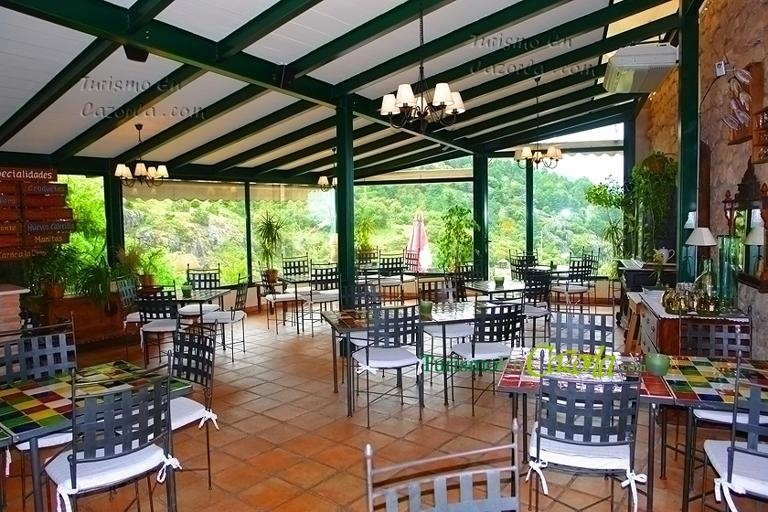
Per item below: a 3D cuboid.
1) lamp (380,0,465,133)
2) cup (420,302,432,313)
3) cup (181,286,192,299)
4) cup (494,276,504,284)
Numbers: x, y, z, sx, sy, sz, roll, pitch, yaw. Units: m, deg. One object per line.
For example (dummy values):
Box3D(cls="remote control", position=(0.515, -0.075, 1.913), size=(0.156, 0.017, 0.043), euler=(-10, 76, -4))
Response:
Box3D(cls="lamp", position=(0.395, -1.988, 5.556), size=(0.924, 1.188, 0.758), euler=(-3, 5, -2))
Box3D(cls="cup", position=(0.476, 0.585, 5.979), size=(0.142, 0.116, 0.140), euler=(0, -1, 0))
Box3D(cls="cup", position=(-2.804, 0.505, 7.374), size=(0.182, 0.136, 0.162), euler=(2, -1, -28))
Box3D(cls="cup", position=(1.637, 0.344, 7.403), size=(0.113, 0.069, 0.108), euler=(-1, 2, 0))
